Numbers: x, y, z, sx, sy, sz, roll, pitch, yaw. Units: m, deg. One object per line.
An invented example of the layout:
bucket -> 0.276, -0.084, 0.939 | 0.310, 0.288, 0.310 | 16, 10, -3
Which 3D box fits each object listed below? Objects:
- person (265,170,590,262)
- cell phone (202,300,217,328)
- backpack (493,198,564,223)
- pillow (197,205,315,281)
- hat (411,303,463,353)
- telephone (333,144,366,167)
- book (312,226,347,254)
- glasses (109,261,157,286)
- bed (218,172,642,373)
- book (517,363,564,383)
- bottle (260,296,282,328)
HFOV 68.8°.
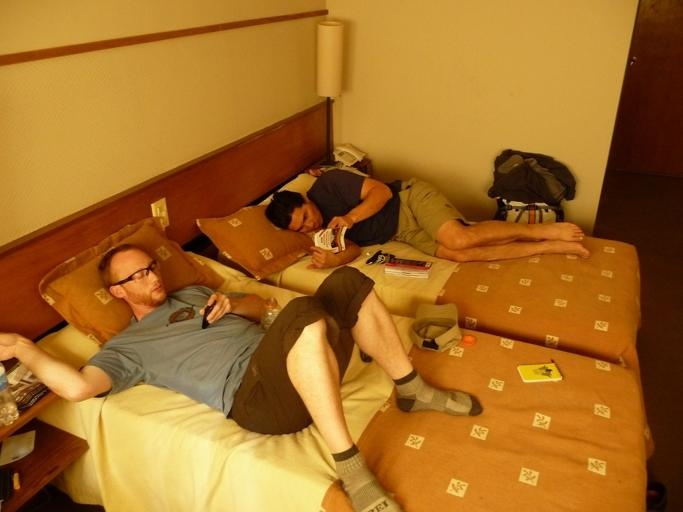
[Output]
person -> 0.531, -0.245, 3.449 | 2.230, 0.628, 0.946 | 0, 18, 13
cell phone -> -0.629, 0.285, 2.411 | 0.050, 0.041, 0.119 | 20, 84, -6
backpack -> 1.495, -0.358, 3.984 | 0.366, 0.129, 0.267 | -3, 24, 0
pillow -> -0.548, -0.100, 3.188 | 0.518, 0.145, 0.530 | 41, 46, 19
hat -> 0.492, 0.367, 2.593 | 0.223, 0.092, 0.229 | 3, 38, 29
telephone -> 0.060, -0.899, 4.471 | 0.264, 0.076, 0.259 | 25, 44, 15
book -> -0.067, -0.097, 3.187 | 0.210, 0.029, 0.145 | 2, 61, 19
glasses -> -0.990, 0.104, 2.410 | 0.143, 0.036, 0.135 | -18, 16, 20
bed -> 0.867, 0.145, 2.934 | 1.618, 0.398, 1.007 | 12, 40, 14
book -> 0.936, 0.554, 2.357 | 0.125, 0.027, 0.090 | 0, 27, 4
bottle -> -0.349, 0.281, 2.459 | 0.110, 0.144, 0.095 | 0, 29, 0
